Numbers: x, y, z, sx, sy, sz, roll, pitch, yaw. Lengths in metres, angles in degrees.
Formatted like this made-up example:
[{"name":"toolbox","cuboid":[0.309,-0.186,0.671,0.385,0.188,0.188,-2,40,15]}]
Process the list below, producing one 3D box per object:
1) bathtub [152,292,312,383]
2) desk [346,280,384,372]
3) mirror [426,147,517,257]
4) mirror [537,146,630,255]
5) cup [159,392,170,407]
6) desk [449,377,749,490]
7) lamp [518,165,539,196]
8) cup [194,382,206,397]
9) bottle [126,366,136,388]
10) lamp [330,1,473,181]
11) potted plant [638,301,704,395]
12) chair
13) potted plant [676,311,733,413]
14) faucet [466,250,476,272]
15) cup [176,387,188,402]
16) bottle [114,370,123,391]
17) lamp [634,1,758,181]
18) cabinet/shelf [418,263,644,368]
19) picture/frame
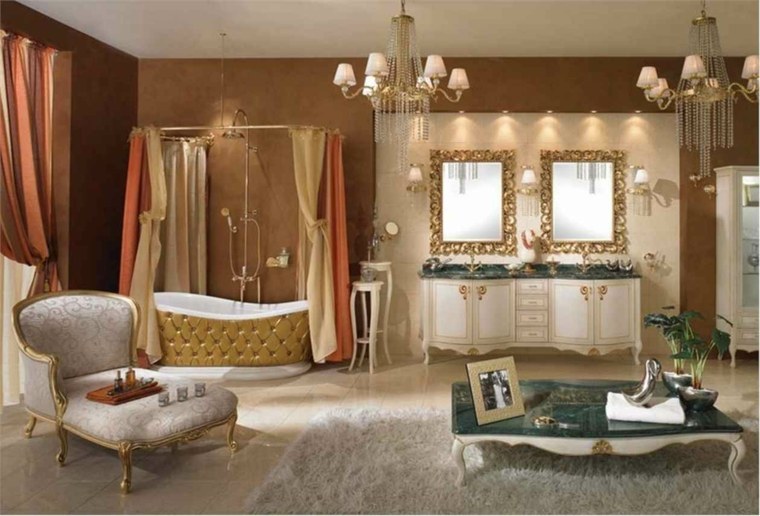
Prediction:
[{"name":"bathtub","cuboid":[-1.687,1.139,7.626,2.588,0.943,1.078,-6,-29,32]},{"name":"desk","cuboid":[-0.162,0.813,7.468,0.474,1.009,0.444,1,-2,14]},{"name":"mirror","cuboid":[1.150,-0.733,7.984,1.514,1.502,0.117,0,-1,-2]},{"name":"mirror","cuboid":[2.600,-0.759,7.932,1.483,1.541,0.070,0,0,-1]},{"name":"cup","cuboid":[-1.815,1.210,5.349,0.100,0.102,0.096,-1,-4,0]},{"name":"desk","cuboid":[1.753,1.735,5.710,2.452,0.515,1.440,0,-9,-5]},{"name":"lamp","cuboid":[1.864,-0.964,7.907,0.237,0.354,0.150,1,8,12]},{"name":"cup","cuboid":[-1.590,1.166,5.578,0.103,0.107,0.107,2,3,0]},{"name":"bottle","cuboid":[-2.188,1.055,5.562,0.085,0.126,0.200,-4,8,-21]},{"name":"lamp","cuboid":[0.223,-1.961,7.173,1.826,2.141,1.551,-2,5,-23]},{"name":"potted plant","cuboid":[2.603,0.830,5.609,0.584,0.609,0.596,4,-3,-31]},{"name":"chair","cuboid":[-2.331,1.021,5.680,1.953,1.168,1.356,9,9,32]},{"name":"potted plant","cuboid":[2.790,0.947,5.404,0.522,0.640,0.374,-2,-8,-21]},{"name":"faucet","cuboid":[1.157,0.055,7.904,0.217,0.229,0.206,0,3,5]},{"name":"cup","cuboid":[-1.690,1.195,5.483,0.089,0.089,0.110,0,-3,21]},{"name":"bottle","cuboid":[-2.252,1.066,5.468,0.080,0.145,0.164,-4,8,-22]},{"name":"lamp","cuboid":[3.359,-1.776,6.812,1.054,1.918,2.118,2,8,22]},{"name":"cabinet/shelf","cuboid":[1.796,0.745,7.500,2.561,1.030,0.296,0,8,1]},{"name":"picture/frame","cuboid":[0.982,1.158,5.397,0.526,0.550,0.039,-6,-12,-21]}]
